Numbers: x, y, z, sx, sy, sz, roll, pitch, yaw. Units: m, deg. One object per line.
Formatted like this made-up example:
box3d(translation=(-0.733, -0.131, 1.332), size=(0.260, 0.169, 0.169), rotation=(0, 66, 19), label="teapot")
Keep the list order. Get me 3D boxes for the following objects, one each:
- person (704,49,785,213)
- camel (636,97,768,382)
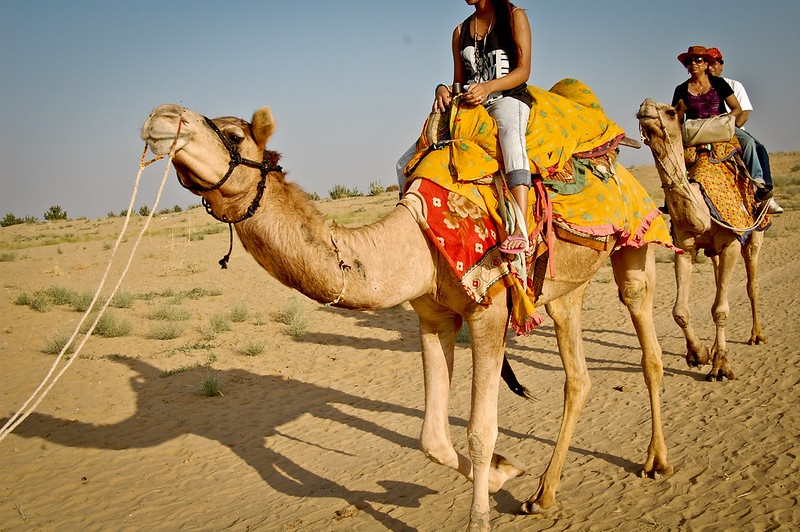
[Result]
box3d(translation=(5.949, -2.479, 11.515), size=(0.959, 2.879, 1.069), rotation=(-28, 3, 30), label="person")
box3d(translation=(5.049, -0.302, 10.742), size=(2.113, 4.551, 4.459), rotation=(1, 17, 12), label="camel")
